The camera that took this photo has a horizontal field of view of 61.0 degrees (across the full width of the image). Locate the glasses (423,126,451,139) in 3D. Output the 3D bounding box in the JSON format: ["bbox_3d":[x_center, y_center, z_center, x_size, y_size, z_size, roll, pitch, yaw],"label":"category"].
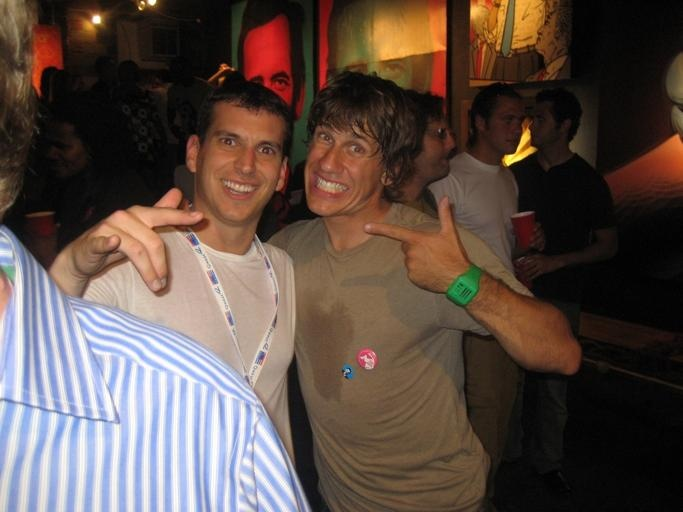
[{"bbox_3d":[0.650,-0.853,3.976,0.168,0.055,0.169,3,6,32],"label":"glasses"}]

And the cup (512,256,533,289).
[{"bbox_3d":[1.226,0.104,3.934,0.154,0.211,0.187,3,-10,-14],"label":"cup"}]
